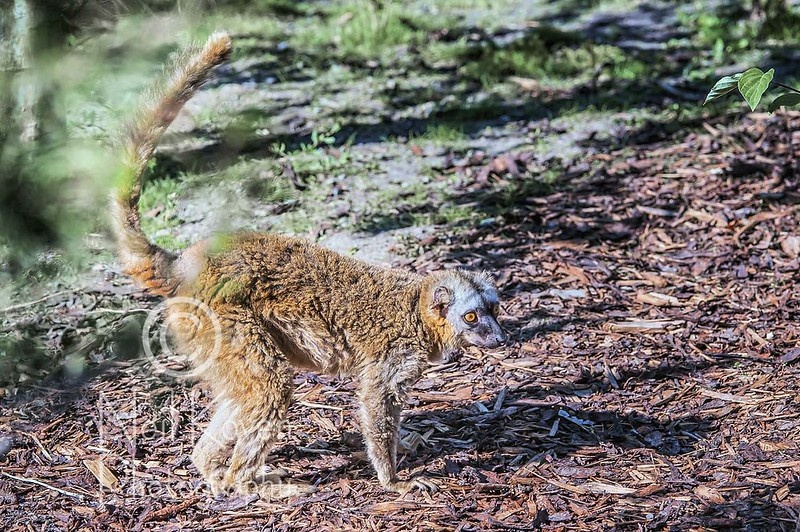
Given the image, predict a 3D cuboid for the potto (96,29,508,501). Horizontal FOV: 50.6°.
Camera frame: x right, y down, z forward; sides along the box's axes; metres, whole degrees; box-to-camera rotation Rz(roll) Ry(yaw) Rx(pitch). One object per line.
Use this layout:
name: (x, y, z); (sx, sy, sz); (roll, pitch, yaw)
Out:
potto: (-0.821, -0.005, 6.095); (2.302, 3.235, 1.327); (-17, 30, -3)
